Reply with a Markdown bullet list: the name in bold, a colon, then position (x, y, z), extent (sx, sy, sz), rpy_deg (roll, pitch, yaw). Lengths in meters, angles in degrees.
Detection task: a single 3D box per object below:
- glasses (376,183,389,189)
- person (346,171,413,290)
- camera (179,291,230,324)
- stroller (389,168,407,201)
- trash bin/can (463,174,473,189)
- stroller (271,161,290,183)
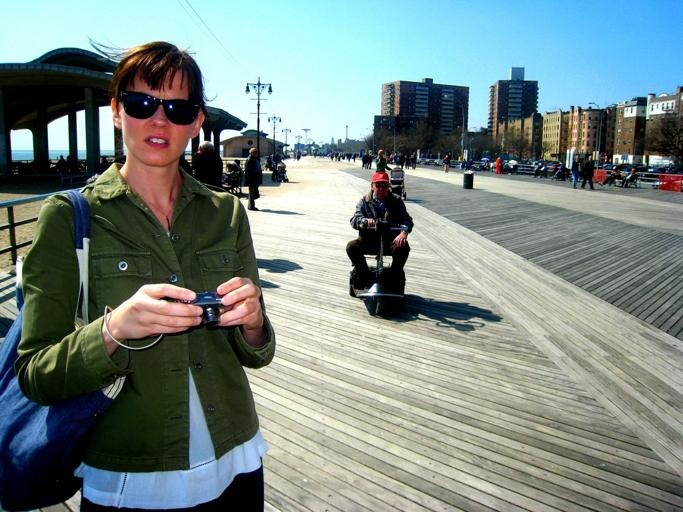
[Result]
- **glasses**: position (0.541, -0.896, 6.765), extent (0.201, 0.076, 0.084), rpy_deg (-3, 13, -20)
- **person**: position (0.502, -0.331, 6.852), extent (0.847, 1.490, 0.864), rpy_deg (2, 11, 7)
- **camera**: position (-0.417, 0.182, 1.643), extent (0.173, 0.134, 0.087), rpy_deg (0, 30, -18)
- **stroller**: position (2.026, -2.592, 19.050), extent (0.632, 1.238, 1.191), rpy_deg (1, 0, 9)
- **trash bin/can**: position (6.832, -3.984, 27.848), extent (0.423, 0.801, 0.757), rpy_deg (2, 12, 6)
- **stroller**: position (-3.968, -5.375, 34.269), extent (0.972, 1.248, 2.039), rpy_deg (-2, 2, -12)
